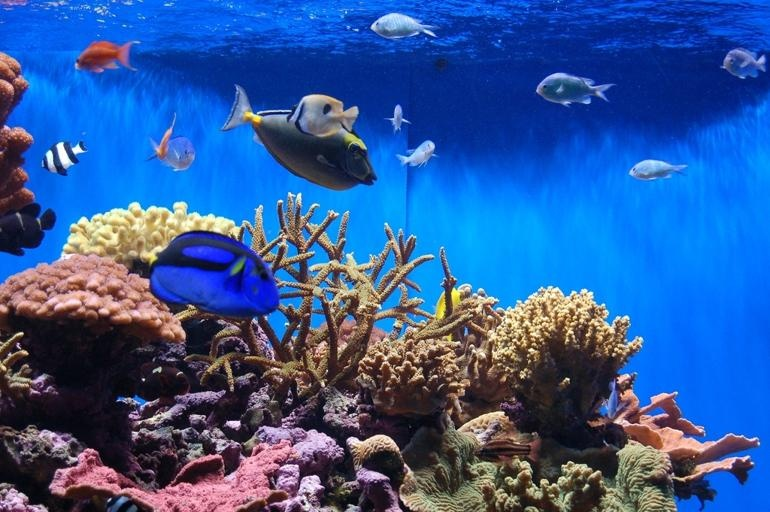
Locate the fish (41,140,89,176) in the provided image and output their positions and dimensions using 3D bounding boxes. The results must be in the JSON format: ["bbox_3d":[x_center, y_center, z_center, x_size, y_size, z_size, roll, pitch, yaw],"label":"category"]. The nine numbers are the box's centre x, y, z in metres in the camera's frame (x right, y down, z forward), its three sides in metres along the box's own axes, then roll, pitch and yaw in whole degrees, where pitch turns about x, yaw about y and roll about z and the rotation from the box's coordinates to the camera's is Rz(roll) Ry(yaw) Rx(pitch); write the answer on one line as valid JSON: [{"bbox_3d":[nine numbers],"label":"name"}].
[{"bbox_3d":[-4.484,-1.390,10.789,0.463,0.329,0.317,6,2,-4],"label":"fish"}]

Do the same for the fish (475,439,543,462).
[{"bbox_3d":[1.470,2.254,8.913,0.697,0.242,0.207,5,2,-16],"label":"fish"}]

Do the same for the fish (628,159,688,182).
[{"bbox_3d":[4.157,-1.311,11.707,0.700,0.308,0.456,7,2,30],"label":"fish"}]

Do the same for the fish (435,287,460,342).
[{"bbox_3d":[0.840,0.747,10.142,0.314,0.611,0.804,6,2,5],"label":"fish"}]

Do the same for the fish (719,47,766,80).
[{"bbox_3d":[5.466,-2.938,11.660,0.536,0.465,0.293,7,2,27],"label":"fish"}]

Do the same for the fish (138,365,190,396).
[{"bbox_3d":[-2.614,1.516,9.198,0.577,0.307,0.180,5,2,-12],"label":"fish"}]
